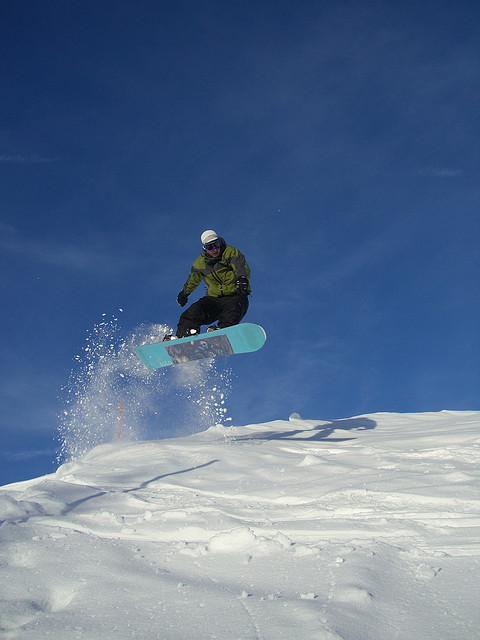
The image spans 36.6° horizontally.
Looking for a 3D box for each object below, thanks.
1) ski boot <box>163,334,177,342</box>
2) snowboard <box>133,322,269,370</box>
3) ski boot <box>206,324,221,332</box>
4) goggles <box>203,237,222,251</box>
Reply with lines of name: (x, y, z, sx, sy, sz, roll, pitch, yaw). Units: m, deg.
ski boot: (-0.936, 0.232, 9.455, 0.284, 0.073, 0.097, -4, 8, 12)
snowboard: (-0.503, 0.329, 9.300, 2.282, 0.390, 0.240, -9, 2, 39)
ski boot: (-0.327, 0.110, 8.995, 0.179, 0.071, 0.251, 0, -1, -13)
goggles: (-0.336, -1.009, 9.614, 0.305, 0.174, 0.149, 0, -1, -33)
